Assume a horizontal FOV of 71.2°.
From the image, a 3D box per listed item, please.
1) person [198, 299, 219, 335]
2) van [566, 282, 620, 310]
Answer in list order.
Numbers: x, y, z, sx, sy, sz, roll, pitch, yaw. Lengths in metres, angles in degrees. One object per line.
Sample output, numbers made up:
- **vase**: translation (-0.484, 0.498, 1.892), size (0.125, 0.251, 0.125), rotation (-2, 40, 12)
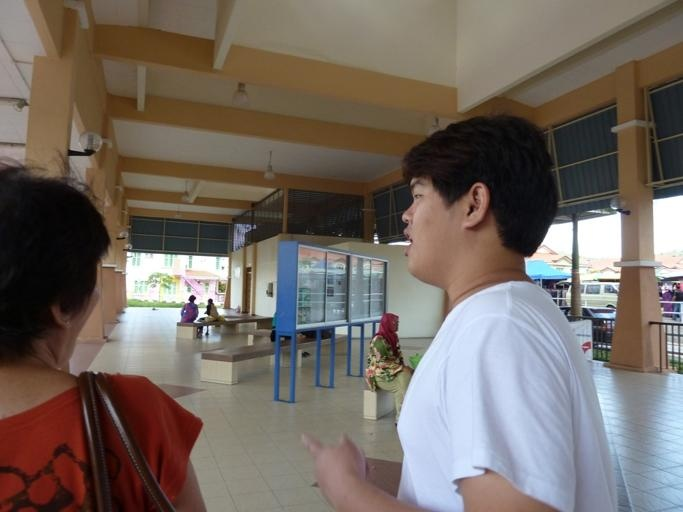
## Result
- **person**: translation (-4.170, 1.905, 14.878), size (0.642, 1.178, 0.451), rotation (-3, -9, 25)
- **van**: translation (8.863, 1.408, 16.719), size (2.030, 1.183, 1.301), rotation (-2, -3, 25)
